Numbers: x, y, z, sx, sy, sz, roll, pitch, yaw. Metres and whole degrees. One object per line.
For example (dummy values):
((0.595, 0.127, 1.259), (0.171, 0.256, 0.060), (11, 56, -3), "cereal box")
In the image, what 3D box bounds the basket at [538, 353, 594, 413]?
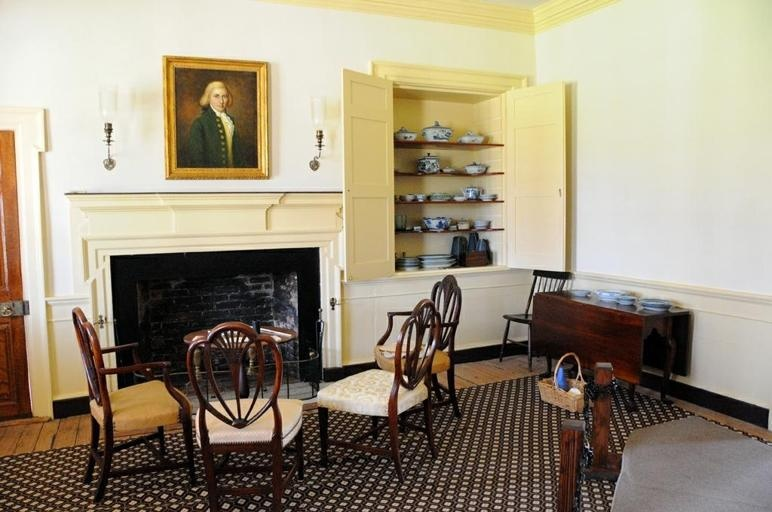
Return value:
((1.573, 1.078, 4.737), (0.301, 0.448, 0.437), (-5, 8, -22), "basket")

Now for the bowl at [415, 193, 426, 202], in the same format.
((0.385, -0.644, 6.029), (0.089, 0.057, 0.091), (-1, 4, 0), "bowl")

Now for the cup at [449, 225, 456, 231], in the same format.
((0.765, -0.319, 6.251), (0.073, 0.028, 0.064), (-7, 13, -32), "cup")

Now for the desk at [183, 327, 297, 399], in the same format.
((-1.568, 0.958, 5.357), (0.956, 0.350, 0.929), (-2, -10, -41), "desk")

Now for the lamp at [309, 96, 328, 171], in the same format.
((-0.673, -1.204, 5.435), (0.158, 0.730, 0.194), (0, 11, 4), "lamp")

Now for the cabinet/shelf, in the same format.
((0.563, -0.846, 5.956), (2.408, 2.200, 1.306), (-1, 2, -23), "cabinet/shelf")

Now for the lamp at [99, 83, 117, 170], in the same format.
((-2.447, -1.130, 4.875), (0.147, 0.729, 0.188), (-2, 12, -8), "lamp")

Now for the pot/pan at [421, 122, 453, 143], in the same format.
((0.579, -1.353, 6.128), (0.298, 0.198, 0.265), (2, 11, 13), "pot/pan")

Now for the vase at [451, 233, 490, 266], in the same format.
((0.964, -0.063, 6.313), (0.387, 0.361, 0.209), (0, -1, -21), "vase")

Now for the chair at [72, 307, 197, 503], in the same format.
((-1.834, 1.055, 4.164), (0.884, 1.230, 0.861), (0, 2, -3), "chair")

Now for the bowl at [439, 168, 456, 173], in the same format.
((0.697, -0.966, 6.205), (0.105, 0.040, 0.106), (-1, 2, 0), "bowl")

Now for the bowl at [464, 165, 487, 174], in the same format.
((1.012, -0.985, 6.253), (0.142, 0.060, 0.144), (-1, 1, 0), "bowl")

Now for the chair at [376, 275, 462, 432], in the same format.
((0.255, 0.830, 4.924), (0.824, 1.225, 0.785), (-1, 5, 1), "chair")

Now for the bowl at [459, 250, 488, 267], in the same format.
((1.024, 0.038, 6.241), (0.305, 0.193, 0.168), (5, -10, -28), "bowl")

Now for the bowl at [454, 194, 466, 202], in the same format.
((0.835, -0.648, 6.256), (0.118, 0.053, 0.118), (-1, 5, 0), "bowl")

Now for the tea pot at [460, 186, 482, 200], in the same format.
((0.986, -0.724, 6.327), (0.220, 0.149, 0.161), (4, -6, -38), "tea pot")

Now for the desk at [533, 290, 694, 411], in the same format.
((2.140, 0.812, 5.221), (0.685, 0.850, 1.383), (-3, 9, -27), "desk")

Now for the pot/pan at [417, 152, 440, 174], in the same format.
((0.461, -1.014, 6.165), (0.265, 0.223, 0.272), (3, 6, 37), "pot/pan")

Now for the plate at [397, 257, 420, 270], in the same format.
((0.242, 0.090, 6.039), (0.164, 0.073, 0.175), (2, 6, 20), "plate")

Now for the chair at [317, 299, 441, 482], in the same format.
((-0.021, 0.938, 4.304), (0.765, 1.208, 0.764), (1, 4, 25), "chair")
